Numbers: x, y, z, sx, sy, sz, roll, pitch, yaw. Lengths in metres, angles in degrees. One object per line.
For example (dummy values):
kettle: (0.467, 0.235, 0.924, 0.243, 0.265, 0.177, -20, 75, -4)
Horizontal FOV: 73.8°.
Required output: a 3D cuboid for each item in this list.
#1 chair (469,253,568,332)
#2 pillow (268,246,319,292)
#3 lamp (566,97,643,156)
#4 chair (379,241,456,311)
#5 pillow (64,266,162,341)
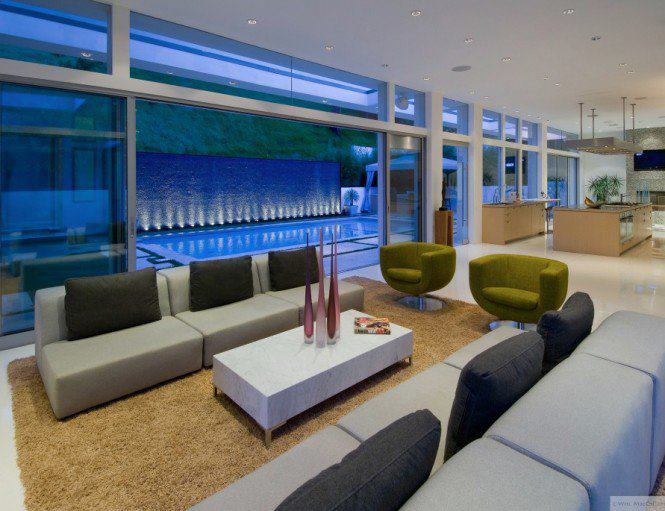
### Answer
chair: (1.897, 0.326, 4.555, 0.953, 0.871, 0.779, 4, 6, 41)
pillow: (-0.429, 0.158, 4.873, 0.424, 0.291, 0.149, -9, -15, -37)
lamp: (7.191, -3.438, 11.743, 0.934, 1.025, 1.897, 2, 5, 37)
chair: (1.164, 0.120, 5.709, 0.802, 0.886, 0.959, -4, 6, -42)
pillow: (-1.849, 0.432, 3.775, 0.510, 0.330, 0.163, -10, -20, -37)
